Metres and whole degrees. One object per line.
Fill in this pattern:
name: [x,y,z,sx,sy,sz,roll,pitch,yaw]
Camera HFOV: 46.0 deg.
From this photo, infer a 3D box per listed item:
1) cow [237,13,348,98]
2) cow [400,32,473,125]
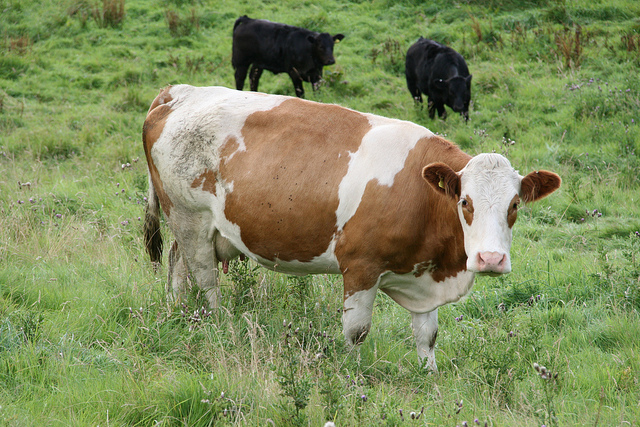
cow: [-0.816,-3.403,17.054,2.733,1.828,0.835,13,14,28]
cow: [2.277,-2.934,16.631,0.685,1.566,2.646,0,3,12]
